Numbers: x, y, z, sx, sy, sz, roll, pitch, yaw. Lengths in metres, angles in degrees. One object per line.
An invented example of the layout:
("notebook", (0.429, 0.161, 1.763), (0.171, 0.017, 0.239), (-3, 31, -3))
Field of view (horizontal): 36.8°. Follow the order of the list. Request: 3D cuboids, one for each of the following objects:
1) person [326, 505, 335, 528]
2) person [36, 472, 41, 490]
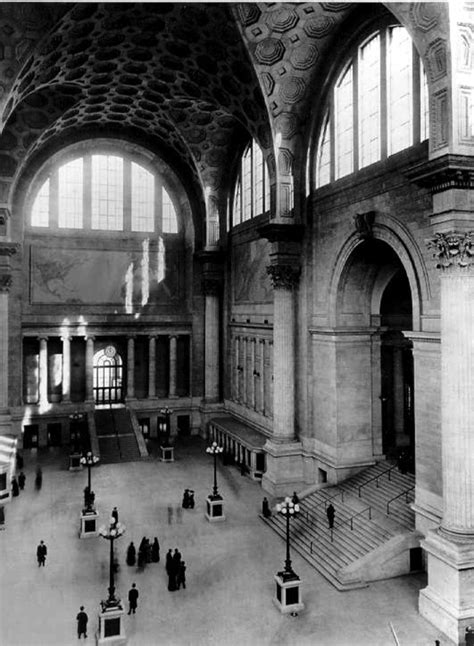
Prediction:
("person", (2.689, 5.501, 20.306), (0.220, 0.681, 0.846), (-2, -1, 7))
("person", (-7.361, 5.848, 26.380), (0.212, 0.594, 0.911), (-2, -1, -17))
